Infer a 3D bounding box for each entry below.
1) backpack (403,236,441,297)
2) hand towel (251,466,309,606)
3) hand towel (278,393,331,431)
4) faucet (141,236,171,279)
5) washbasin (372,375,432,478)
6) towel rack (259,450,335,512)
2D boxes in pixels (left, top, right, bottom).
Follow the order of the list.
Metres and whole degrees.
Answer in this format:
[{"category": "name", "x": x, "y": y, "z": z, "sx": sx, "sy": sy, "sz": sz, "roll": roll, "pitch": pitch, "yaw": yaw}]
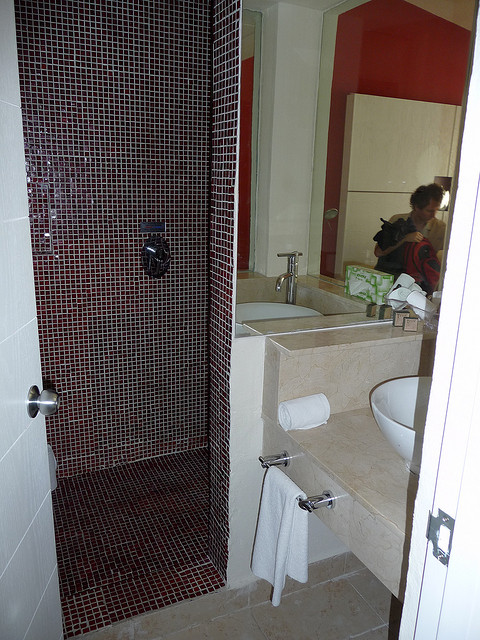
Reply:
[{"category": "backpack", "x": 0.659, "y": -0.218, "z": 1.679, "sx": 0.082, "sy": 0.157, "sz": 0.250, "roll": 8, "pitch": 8, "yaw": 29}, {"category": "hand towel", "x": 0.114, "y": 0.624, "z": 1.411, "sx": 0.110, "sy": 0.404, "sz": 0.200, "roll": -4, "pitch": 20, "yaw": -26}, {"category": "hand towel", "x": 0.197, "y": 0.281, "z": 1.442, "sx": 0.152, "sy": 0.090, "sz": 0.102, "roll": -3, "pitch": 15, "yaw": -17}, {"category": "faucet", "x": -0.424, "y": -0.310, "z": 2.371, "sx": 0.133, "sy": 0.201, "sz": 0.045, "roll": -11, "pitch": 19, "yaw": -24}, {"category": "washbasin", "x": 0.444, "y": 0.266, "z": 1.365, "sx": 0.154, "sy": 0.167, "sz": 0.504, "roll": 7, "pitch": 16, "yaw": 21}, {"category": "towel rack", "x": 0.149, "y": 0.450, "z": 1.347, "sx": 0.086, "sy": 0.060, "sz": 0.275, "roll": 0, "pitch": 13, "yaw": -27}]
